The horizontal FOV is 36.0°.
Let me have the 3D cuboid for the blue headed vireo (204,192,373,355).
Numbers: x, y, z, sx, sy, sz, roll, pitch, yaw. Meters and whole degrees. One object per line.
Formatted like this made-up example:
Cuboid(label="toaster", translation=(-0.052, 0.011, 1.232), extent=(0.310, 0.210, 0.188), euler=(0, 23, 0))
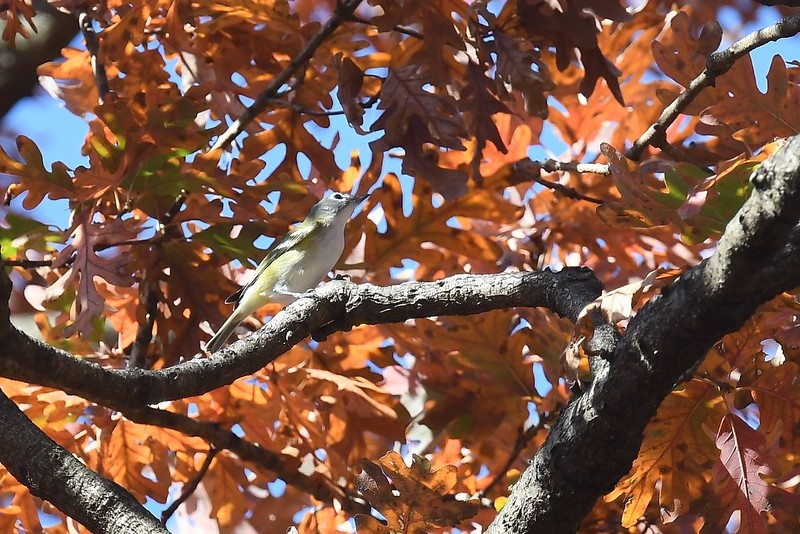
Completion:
Cuboid(label="blue headed vireo", translation=(-0.581, 0.048, 6.199), extent=(0.392, 0.882, 0.864), euler=(32, -55, -6))
